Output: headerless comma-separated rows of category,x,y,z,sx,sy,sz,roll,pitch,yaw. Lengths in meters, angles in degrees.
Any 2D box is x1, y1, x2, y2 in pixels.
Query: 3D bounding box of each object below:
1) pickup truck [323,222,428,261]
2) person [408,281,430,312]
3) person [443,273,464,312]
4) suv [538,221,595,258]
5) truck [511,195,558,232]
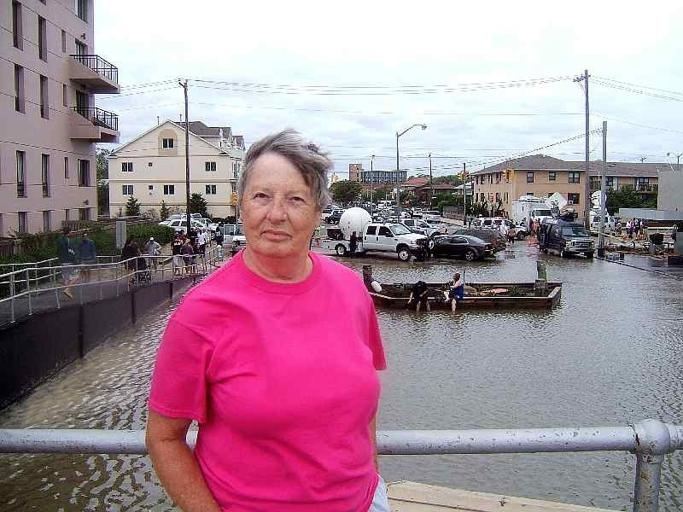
pickup truck,2.668,-1.086,37.533,6.265,2.086,2.550,1,4,33
person,2.776,1.374,20.318,0.763,1.059,0.756,0,6,3
person,4.014,1.198,20.277,0.694,1.382,1.774,0,6,11
suv,15.574,-1.246,39.308,2.134,1.860,3.872,0,1,-7
truck,19.896,-4.645,57.789,2.630,3.710,7.097,-2,4,-5
